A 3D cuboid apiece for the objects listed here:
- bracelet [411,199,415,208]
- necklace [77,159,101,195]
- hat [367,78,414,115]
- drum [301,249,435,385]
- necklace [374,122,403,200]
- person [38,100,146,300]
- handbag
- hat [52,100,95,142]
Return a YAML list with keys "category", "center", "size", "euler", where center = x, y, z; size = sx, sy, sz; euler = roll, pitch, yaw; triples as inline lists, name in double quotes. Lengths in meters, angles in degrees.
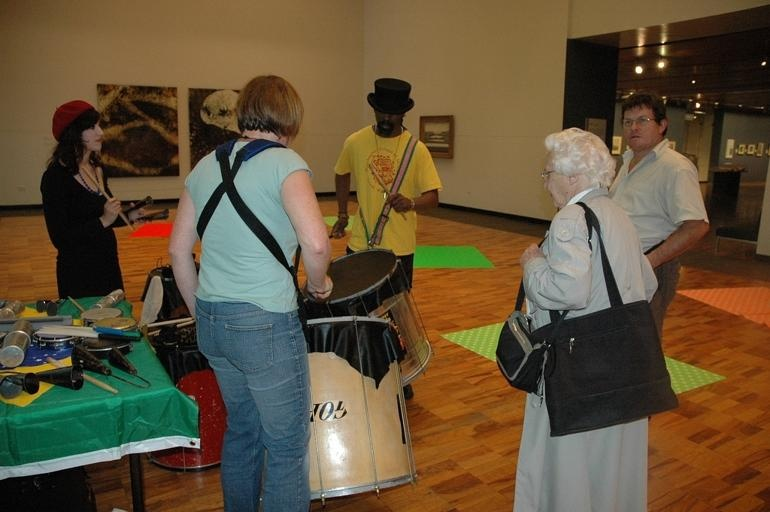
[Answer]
- category: "bracelet"
  center: [0.195, -0.358, 3.792]
  size: [0.038, 0.044, 0.049]
  euler: [-2, -4, 3]
- category: "necklace"
  center: [-1.867, -0.497, 3.546]
  size: [0.041, 0.167, 0.119]
  euler: [-18, -4, 35]
- category: "hat"
  center: [0.066, -1.108, 3.825]
  size: [0.255, 0.135, 0.290]
  euler: [24, 35, 16]
- category: "drum"
  center: [-0.181, 0.422, 3.303]
  size: [0.721, 0.697, 0.735]
  euler: [-22, 22, 12]
- category: "necklace"
  center: [0.004, -0.652, 3.857]
  size: [0.105, 0.495, 0.247]
  euler: [-7, 2, -14]
- category: "person"
  center: [-1.890, -0.342, 3.485]
  size: [0.396, 1.190, 0.342]
  euler: [-9, 14, -31]
- category: "handbag"
  center: [0.878, 0.506, 2.845]
  size: [0.761, 0.802, 0.478]
  euler: [-18, 1, 4]
- category: "hat"
  center: [-1.922, -0.835, 3.435]
  size: [0.250, 0.242, 0.225]
  euler: [9, 16, 40]
